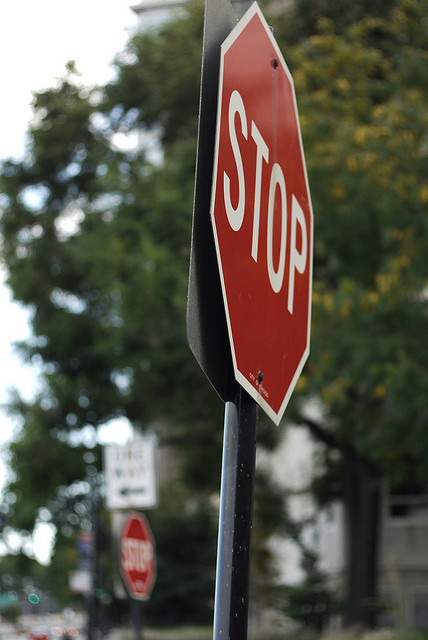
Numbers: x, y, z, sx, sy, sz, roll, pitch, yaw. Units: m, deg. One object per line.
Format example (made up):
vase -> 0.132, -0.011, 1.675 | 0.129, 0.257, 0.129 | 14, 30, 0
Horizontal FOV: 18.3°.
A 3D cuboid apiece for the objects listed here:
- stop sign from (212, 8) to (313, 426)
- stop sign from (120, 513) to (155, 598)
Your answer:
stop sign -> 0.213, -0.449, 5.625 | 0.157, 1.746, 0.669 | -6, -11, 29
stop sign -> -0.595, 1.832, 10.373 | 0.300, 0.715, 0.047 | 4, 16, 19
